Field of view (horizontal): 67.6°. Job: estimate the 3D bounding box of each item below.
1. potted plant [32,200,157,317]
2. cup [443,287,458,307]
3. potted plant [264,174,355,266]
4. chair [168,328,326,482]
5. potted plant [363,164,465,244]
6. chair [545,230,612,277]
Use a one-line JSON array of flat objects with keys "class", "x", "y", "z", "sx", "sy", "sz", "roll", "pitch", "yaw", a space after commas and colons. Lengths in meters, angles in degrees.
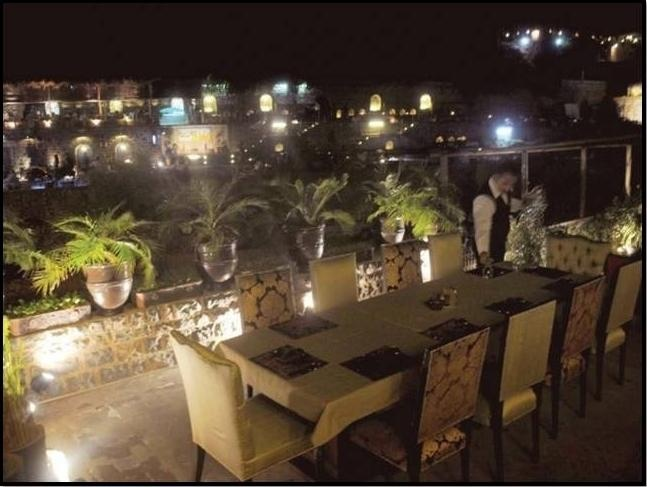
[{"class": "potted plant", "x": -2.460, "y": 0.098, "z": 5.212, "sx": 1.213, "sy": 1.088, "sz": 1.135, "roll": 4, "pitch": 13, "yaw": 28}, {"class": "cup", "x": 1.142, "y": 0.485, "z": 4.408, "sx": 0.150, "sy": 0.157, "sz": 0.108, "roll": -3, "pitch": 5, "yaw": -44}, {"class": "potted plant", "x": -0.333, "y": -0.313, "z": 7.638, "sx": 1.171, "sy": 1.456, "sz": 1.543, "roll": -4, "pitch": 13, "yaw": -40}, {"class": "chair", "x": -0.513, "y": 1.195, "z": 3.500, "sx": 0.712, "sy": 1.209, "sz": 0.668, "roll": -22, "pitch": 32, "yaw": -38}, {"class": "potted plant", "x": 1.306, "y": -0.660, "z": 7.826, "sx": 1.510, "sy": 1.134, "sz": 1.600, "roll": 18, "pitch": 21, "yaw": 41}, {"class": "chair", "x": 2.903, "y": 0.085, "z": 5.565, "sx": 0.475, "sy": 0.626, "sz": 0.426, "roll": -4, "pitch": 9, "yaw": -39}]
